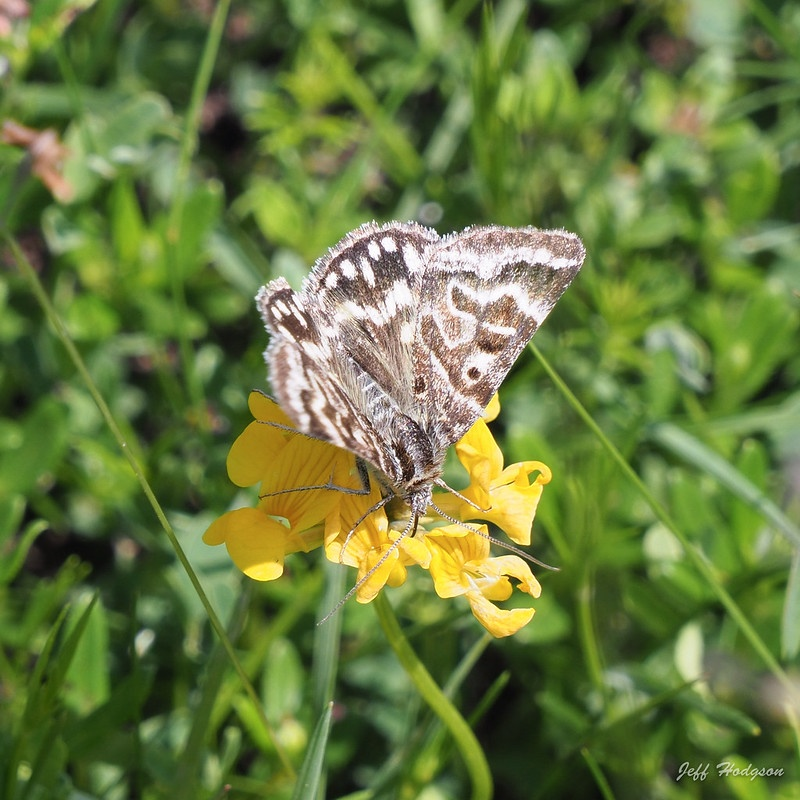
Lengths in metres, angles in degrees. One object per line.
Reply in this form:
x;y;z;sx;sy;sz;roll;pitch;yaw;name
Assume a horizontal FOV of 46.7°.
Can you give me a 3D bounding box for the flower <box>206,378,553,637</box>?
-0.045;0.173;1.237;0.433;0.201;0.359;13;39;-21;flower
